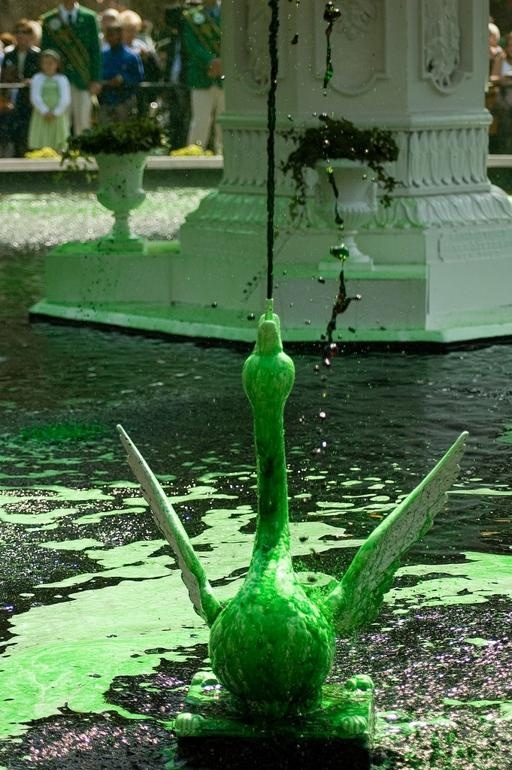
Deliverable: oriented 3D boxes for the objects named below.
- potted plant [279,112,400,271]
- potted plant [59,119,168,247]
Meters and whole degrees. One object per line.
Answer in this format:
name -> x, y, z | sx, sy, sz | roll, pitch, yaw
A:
potted plant -> 0.538, -1.198, 9.735 | 0.712, 0.866, 0.675 | -3, 2, -15
potted plant -> -1.025, -1.472, 11.293 | 0.733, 0.925, 0.648 | 2, 8, 37
